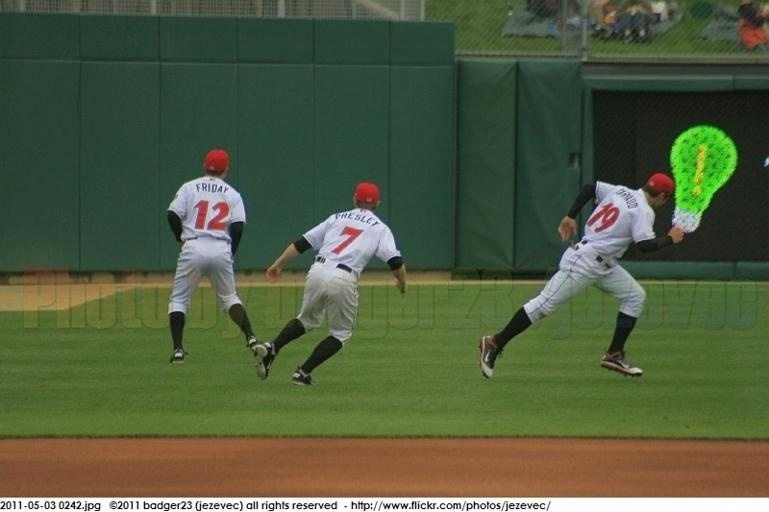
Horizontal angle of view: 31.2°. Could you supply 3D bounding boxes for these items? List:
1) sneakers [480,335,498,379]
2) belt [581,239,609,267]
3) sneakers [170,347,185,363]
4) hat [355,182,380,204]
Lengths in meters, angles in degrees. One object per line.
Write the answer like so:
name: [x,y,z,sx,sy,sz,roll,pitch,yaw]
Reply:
sneakers: [1.513,1.467,20.148,0.300,0.598,0.218,-3,0,25]
belt: [3.122,-0.033,20.325,0.389,0.137,0.306,43,12,17]
sneakers: [-3.125,1.498,20.592,0.182,0.238,0.244,4,35,-6]
hat: [-0.285,-0.931,20.199,0.301,0.220,0.396,8,30,-5]
